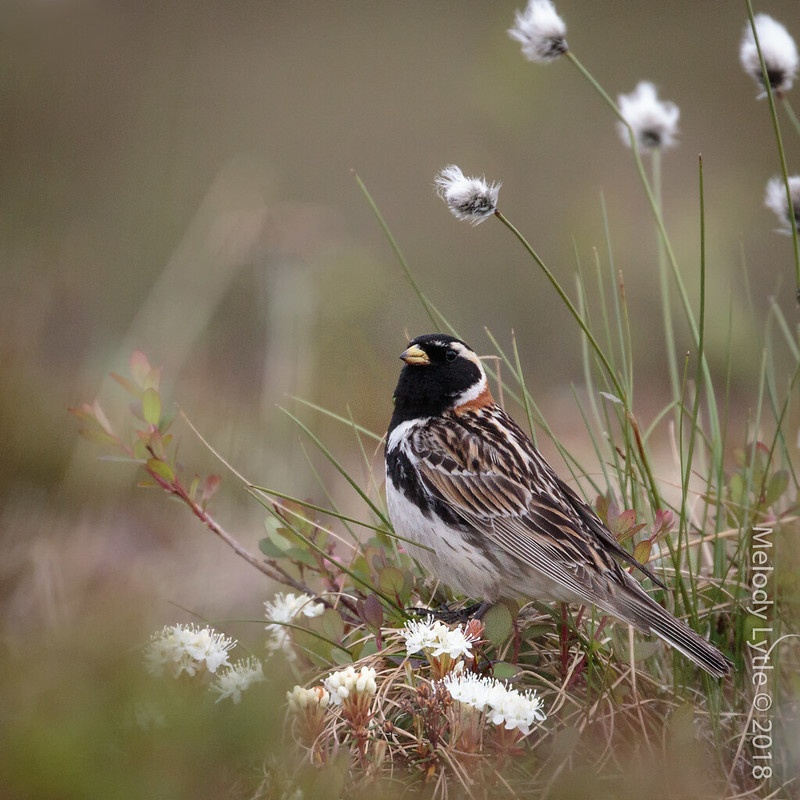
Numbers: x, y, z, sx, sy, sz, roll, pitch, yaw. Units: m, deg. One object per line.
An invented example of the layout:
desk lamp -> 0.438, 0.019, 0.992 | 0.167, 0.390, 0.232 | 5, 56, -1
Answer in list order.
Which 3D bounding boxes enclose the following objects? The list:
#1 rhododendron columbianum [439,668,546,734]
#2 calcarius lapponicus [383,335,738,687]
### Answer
rhododendron columbianum -> 0.311, 1.061, 3.624 | 0.322, 0.175, 0.210 | 11, 20, 27
calcarius lapponicus -> 0.603, 0.427, 4.672 | 1.609, 1.420, 0.778 | 11, 1, 16
